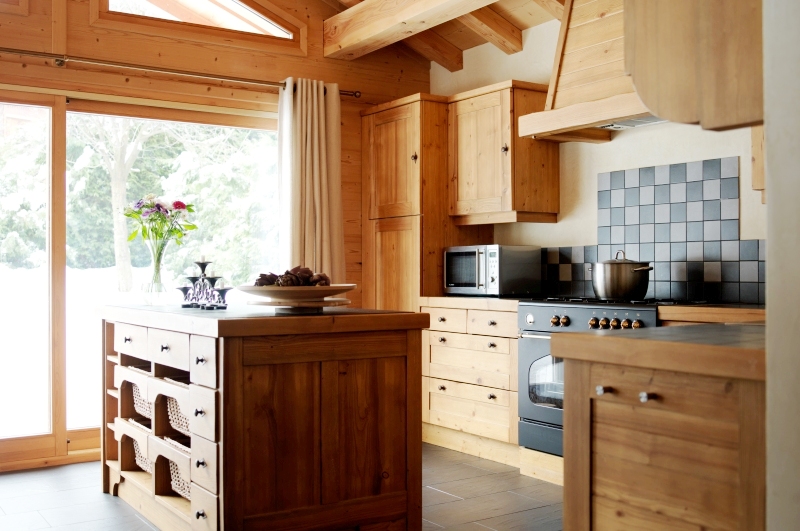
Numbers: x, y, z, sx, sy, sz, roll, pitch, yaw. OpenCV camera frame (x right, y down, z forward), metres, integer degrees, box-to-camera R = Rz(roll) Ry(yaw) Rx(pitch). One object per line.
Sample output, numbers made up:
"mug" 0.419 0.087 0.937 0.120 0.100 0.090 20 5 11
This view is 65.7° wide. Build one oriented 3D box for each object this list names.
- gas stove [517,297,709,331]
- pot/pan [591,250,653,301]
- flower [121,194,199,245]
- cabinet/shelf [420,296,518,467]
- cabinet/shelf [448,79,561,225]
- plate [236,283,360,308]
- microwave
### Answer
"gas stove" 1.140 0.332 3.816 0.118 0.224 0.953 -4 3 -43
"pot/pan" 1.391 0.098 3.891 0.277 0.240 0.362 4 -6 -32
"flower" -1.581 -0.286 4.203 0.455 0.364 0.459 -3 -8 38
"cabinet/shelf" 0.732 0.836 4.730 0.631 1.092 1.199 4 -4 -34
"cabinet/shelf" 0.849 -0.856 4.993 0.711 0.979 0.833 -2 4 -25
"plate" -0.482 0.143 2.943 0.528 0.100 0.254 -1 2 3
"microwave" 0.765 0.058 4.796 0.442 0.355 0.620 2 -3 -33
